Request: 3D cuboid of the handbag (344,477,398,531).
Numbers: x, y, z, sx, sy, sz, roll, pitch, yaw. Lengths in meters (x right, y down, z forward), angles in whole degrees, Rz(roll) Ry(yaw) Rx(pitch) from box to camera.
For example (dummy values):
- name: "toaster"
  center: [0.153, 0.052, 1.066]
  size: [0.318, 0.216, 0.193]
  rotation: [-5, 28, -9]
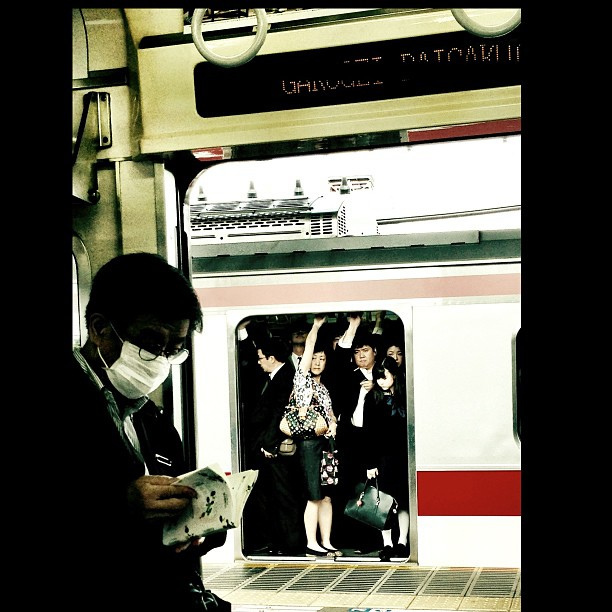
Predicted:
- name: "handbag"
  center: [0.386, 1.133, 5.535]
  size: [0.245, 0.251, 0.099]
  rotation: [16, -7, 40]

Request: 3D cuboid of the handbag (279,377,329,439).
- name: "handbag"
  center: [-0.011, 0.590, 5.778]
  size: [0.264, 0.391, 0.118]
  rotation: [-3, -20, 9]

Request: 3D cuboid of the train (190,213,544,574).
- name: "train"
  center: [0.325, 0.417, 5.007]
  size: [1.788, 1.733, 0.722]
  rotation: [0, 3, 18]

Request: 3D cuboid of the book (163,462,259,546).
- name: "book"
  center: [-0.268, 0.551, 2.793]
  size: [0.210, 0.181, 0.275]
  rotation: [-3, 1, 12]

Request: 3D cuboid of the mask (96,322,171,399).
- name: "mask"
  center: [-0.518, 0.168, 2.948]
  size: [0.218, 0.194, 0.128]
  rotation: [-3, 1, -15]
